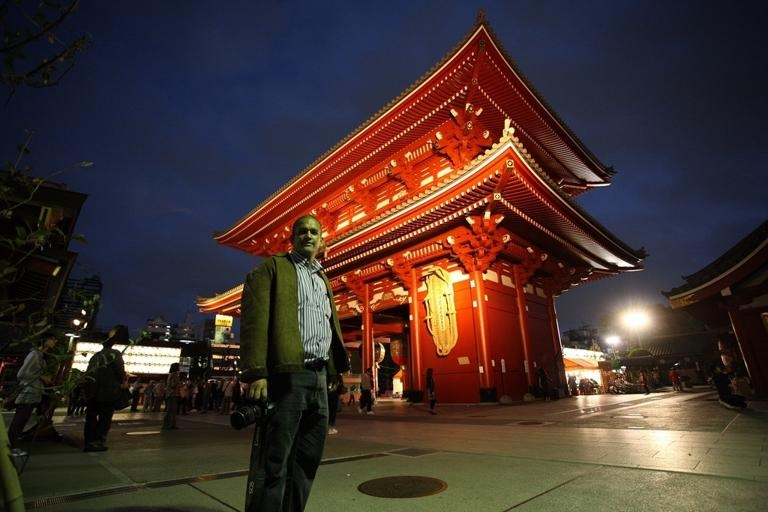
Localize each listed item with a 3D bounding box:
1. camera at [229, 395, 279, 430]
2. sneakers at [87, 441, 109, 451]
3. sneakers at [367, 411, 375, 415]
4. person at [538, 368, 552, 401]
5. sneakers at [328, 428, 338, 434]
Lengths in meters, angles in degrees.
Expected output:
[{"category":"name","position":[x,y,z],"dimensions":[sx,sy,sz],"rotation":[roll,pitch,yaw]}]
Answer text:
[{"category":"camera","position":[-1.144,1.313,3.511],"dimensions":[0.343,0.209,0.356],"rotation":[4,-7,26]},{"category":"sneakers","position":[-4.684,3.146,6.656],"dimensions":[0.322,0.134,0.124],"rotation":[6,-13,-21]},{"category":"sneakers","position":[-0.428,5.351,13.641],"dimensions":[0.138,0.153,0.372],"rotation":[14,-23,-41]},{"category":"person","position":[6.259,5.008,15.765],"dimensions":[0.286,1.175,1.170],"rotation":[-13,-22,26]},{"category":"sneakers","position":[-1.116,3.871,8.833],"dimensions":[0.345,0.139,0.133],"rotation":[-16,-22,39]}]
